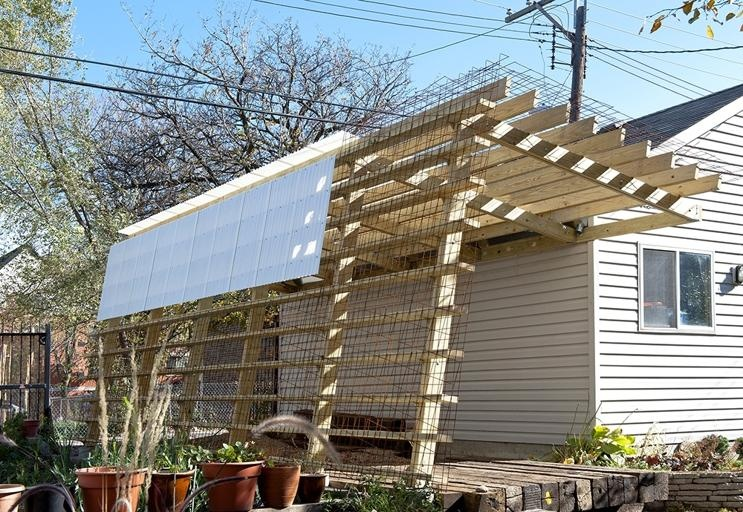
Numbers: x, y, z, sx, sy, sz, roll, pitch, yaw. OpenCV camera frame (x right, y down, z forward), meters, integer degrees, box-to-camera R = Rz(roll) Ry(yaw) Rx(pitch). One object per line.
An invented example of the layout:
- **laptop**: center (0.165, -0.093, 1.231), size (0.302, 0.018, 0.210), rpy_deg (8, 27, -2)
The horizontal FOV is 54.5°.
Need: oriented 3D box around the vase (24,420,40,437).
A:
- **vase**: center (-5.819, 2.968, 12.418), size (0.316, 0.219, 0.300), rpy_deg (7, -22, -24)
